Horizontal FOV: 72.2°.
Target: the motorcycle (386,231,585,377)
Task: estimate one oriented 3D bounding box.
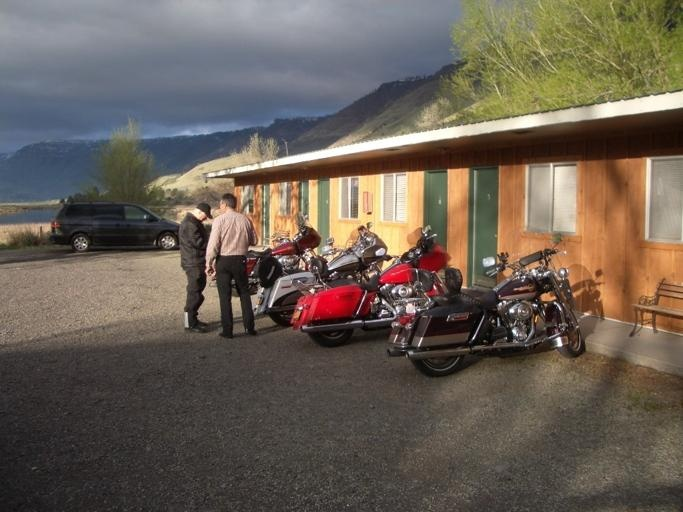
[{"bbox_3d":[1.653,0.451,6.299,2.841,1.814,1.275,-8,9,-17],"label":"motorcycle"}]

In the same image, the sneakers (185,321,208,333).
[{"bbox_3d":[-2.311,1.134,7.505,0.432,0.206,0.147,-2,4,-5],"label":"sneakers"}]

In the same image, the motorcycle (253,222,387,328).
[{"bbox_3d":[-0.229,0.373,7.767,2.272,1.442,1.401,-14,11,-25],"label":"motorcycle"}]

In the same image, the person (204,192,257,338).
[{"bbox_3d":[-1.693,0.150,7.231,0.781,2.188,0.454,-4,7,-19],"label":"person"}]
